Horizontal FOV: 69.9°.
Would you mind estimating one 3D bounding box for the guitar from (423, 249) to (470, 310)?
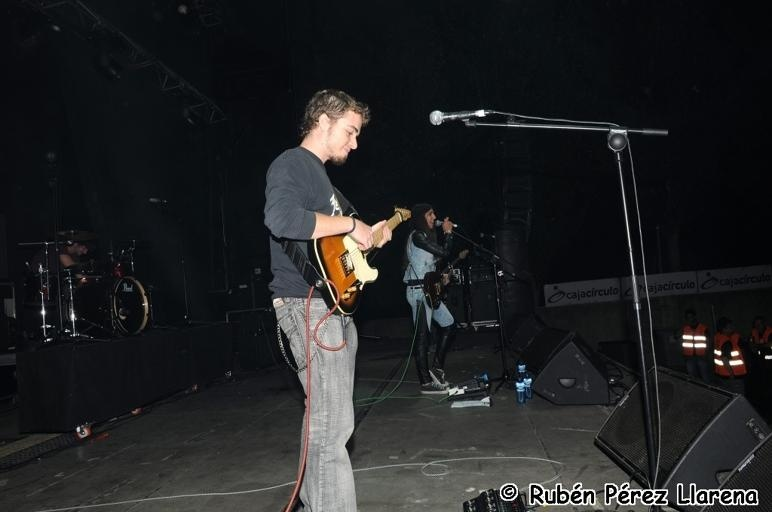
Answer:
[{"bbox_3d":[1.056,0.448,9.511,0.137,0.535,1.237,-11,12,20],"label":"guitar"}]

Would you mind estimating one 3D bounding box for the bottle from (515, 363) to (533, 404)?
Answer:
[{"bbox_3d":[1.953,1.783,7.785,0.215,0.484,0.337,-1,5,15],"label":"bottle"}]

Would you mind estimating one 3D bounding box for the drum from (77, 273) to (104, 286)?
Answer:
[{"bbox_3d":[-4.874,0.385,9.033,0.244,0.185,0.339,0,-3,-6],"label":"drum"}]

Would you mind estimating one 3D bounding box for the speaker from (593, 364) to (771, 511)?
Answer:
[{"bbox_3d":[3.017,1.681,5.776,1.308,0.980,1.352,-5,-6,-8],"label":"speaker"}]

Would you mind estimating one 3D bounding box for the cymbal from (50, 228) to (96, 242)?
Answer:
[{"bbox_3d":[-5.458,-0.342,9.627,0.341,0.086,0.354,21,26,26],"label":"cymbal"}]

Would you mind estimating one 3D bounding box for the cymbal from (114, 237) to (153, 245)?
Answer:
[{"bbox_3d":[-5.286,-0.311,11.459,0.679,0.075,0.273,4,-11,25],"label":"cymbal"}]

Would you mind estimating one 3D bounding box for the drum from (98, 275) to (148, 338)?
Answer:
[{"bbox_3d":[-4.145,0.801,8.865,0.327,0.904,0.697,-2,5,1],"label":"drum"}]
